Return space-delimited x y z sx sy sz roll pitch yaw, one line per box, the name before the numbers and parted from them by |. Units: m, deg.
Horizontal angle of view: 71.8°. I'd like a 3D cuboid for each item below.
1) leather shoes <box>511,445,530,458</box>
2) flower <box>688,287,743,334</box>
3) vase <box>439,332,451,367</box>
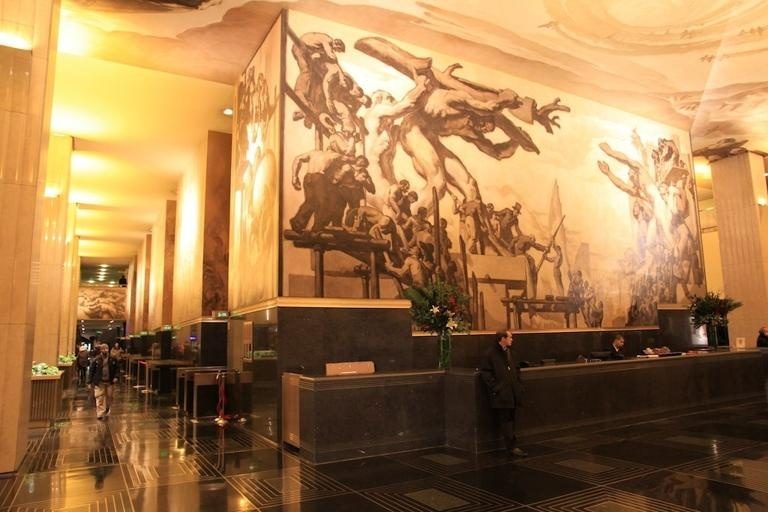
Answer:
leather shoes | 2.624 3.869 10.470 0.187 0.134 0.330 5 -11 -38
flower | 11.492 1.892 18.494 1.613 1.119 1.495 1 -6 8
vase | 1.343 2.113 11.935 0.250 0.756 0.288 -2 -1 0
